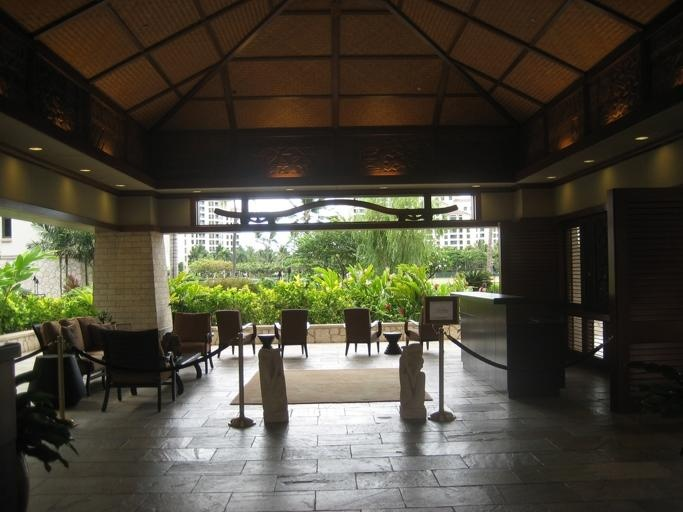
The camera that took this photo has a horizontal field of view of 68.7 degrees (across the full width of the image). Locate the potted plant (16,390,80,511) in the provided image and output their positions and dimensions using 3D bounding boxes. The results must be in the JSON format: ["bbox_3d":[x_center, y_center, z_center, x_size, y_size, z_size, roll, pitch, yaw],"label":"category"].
[{"bbox_3d":[-2.708,1.695,4.620,0.428,1.130,1.282,-3,4,-28],"label":"potted plant"}]

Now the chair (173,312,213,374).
[{"bbox_3d":[-2.770,1.608,9.284,0.784,0.950,0.813,-2,-5,10],"label":"chair"}]

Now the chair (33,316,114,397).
[{"bbox_3d":[-3.938,1.500,7.363,0.460,0.604,1.087,0,-4,-6],"label":"chair"}]

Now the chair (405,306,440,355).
[{"bbox_3d":[1.502,1.504,10.395,0.557,0.768,0.563,-6,-3,0],"label":"chair"}]

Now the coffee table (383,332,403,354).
[{"bbox_3d":[1.083,1.851,10.597,0.396,0.427,0.385,2,-8,-7],"label":"coffee table"}]

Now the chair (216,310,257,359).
[{"bbox_3d":[-2.219,1.605,10.430,0.795,0.968,0.782,-2,-4,7],"label":"chair"}]

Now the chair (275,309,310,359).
[{"bbox_3d":[-0.992,1.564,10.507,0.745,0.945,0.769,2,-5,-24],"label":"chair"}]

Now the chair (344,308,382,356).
[{"bbox_3d":[0.450,1.585,10.720,0.751,0.998,0.766,-2,-3,14],"label":"chair"}]

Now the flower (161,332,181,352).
[{"bbox_3d":[-2.732,1.352,7.919,0.227,0.347,0.359,0,-9,-4],"label":"flower"}]

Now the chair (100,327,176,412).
[{"bbox_3d":[-2.870,1.515,6.857,0.922,1.255,1.199,0,-6,1],"label":"chair"}]
